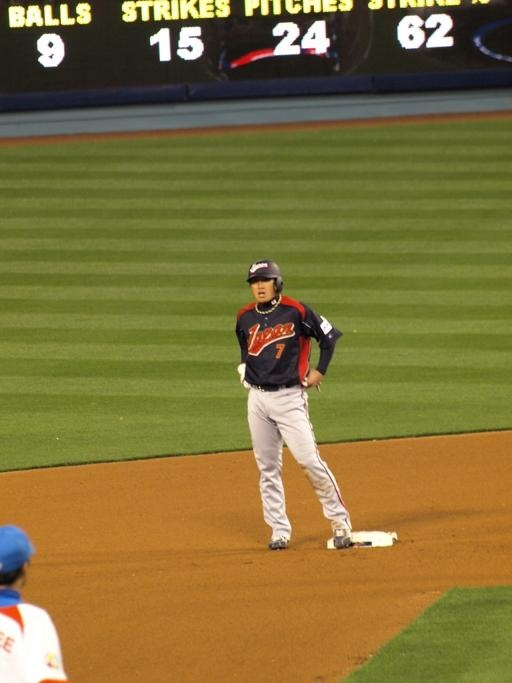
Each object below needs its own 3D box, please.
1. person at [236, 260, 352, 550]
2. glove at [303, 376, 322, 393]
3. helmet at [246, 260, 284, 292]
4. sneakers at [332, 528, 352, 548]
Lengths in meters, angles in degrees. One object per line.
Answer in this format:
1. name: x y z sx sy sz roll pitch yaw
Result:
1. person: 0.239 0.500 8.391 0.819 1.673 0.510 1 13 10
2. glove: 0.363 0.294 8.388 0.118 0.139 0.074 4 22 17
3. helmet: 0.074 -0.433 8.366 0.177 0.116 0.235 -4 -9 17
4. sneakers: 0.552 1.253 8.268 0.086 0.097 0.145 -2 -23 6
